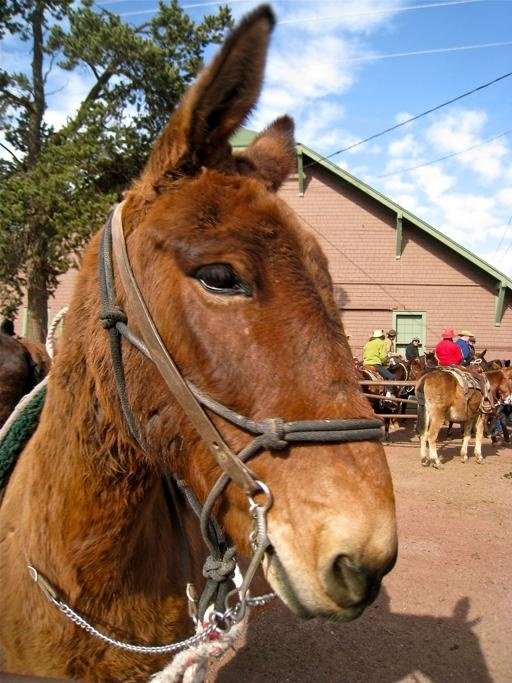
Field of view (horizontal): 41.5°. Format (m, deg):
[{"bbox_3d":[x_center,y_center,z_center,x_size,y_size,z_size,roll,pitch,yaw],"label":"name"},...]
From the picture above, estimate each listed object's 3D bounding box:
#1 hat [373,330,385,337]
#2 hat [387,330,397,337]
[{"bbox_3d":[2.504,-0.174,13.959,0.219,0.206,0.257,-1,-6,15],"label":"hat"},{"bbox_3d":[3.185,-0.178,15.868,0.235,0.091,0.288,0,2,5],"label":"hat"}]
